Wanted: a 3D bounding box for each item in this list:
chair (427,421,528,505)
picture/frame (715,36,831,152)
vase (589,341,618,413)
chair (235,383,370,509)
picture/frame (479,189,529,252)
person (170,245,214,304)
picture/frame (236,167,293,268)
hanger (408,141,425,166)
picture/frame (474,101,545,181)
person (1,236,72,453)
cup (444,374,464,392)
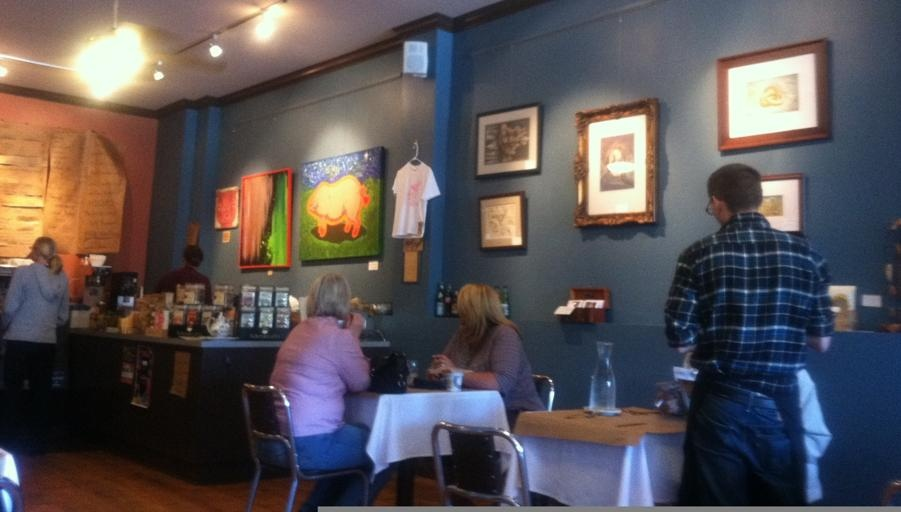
[{"bbox_3d":[0.200,1.342,3.814,0.598,0.651,0.585,0,-2,7],"label":"chair"},{"bbox_3d":[2.868,-1.405,5.345,1.216,1.094,0.087,-2,-9,27],"label":"picture/frame"},{"bbox_3d":[0.978,0.774,3.876,0.173,0.456,0.241,-1,-3,31],"label":"vase"},{"bbox_3d":[-1.049,1.422,4.438,0.951,0.988,0.415,1,-3,-3],"label":"chair"},{"bbox_3d":[0.600,-0.372,6.503,0.769,0.674,0.104,0,-1,35],"label":"picture/frame"},{"bbox_3d":[-3.038,0.217,7.120,0.490,0.711,0.987,2,-2,-22],"label":"person"},{"bbox_3d":[-2.589,-0.524,8.636,1.536,1.591,0.066,-6,-11,39],"label":"picture/frame"},{"bbox_3d":[-0.370,-1.173,6.966,0.338,0.321,0.008,-3,-8,41],"label":"hanger"},{"bbox_3d":[0.627,-1.235,6.570,0.852,0.705,0.078,1,0,42],"label":"picture/frame"},{"bbox_3d":[-4.607,0.931,6.735,0.574,2.264,0.434,3,-4,-41],"label":"person"},{"bbox_3d":[0.038,0.948,4.531,0.136,0.111,0.128,0,-4,0],"label":"cup"}]
